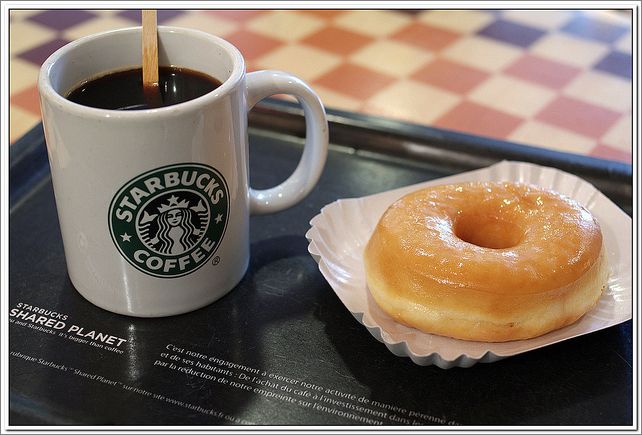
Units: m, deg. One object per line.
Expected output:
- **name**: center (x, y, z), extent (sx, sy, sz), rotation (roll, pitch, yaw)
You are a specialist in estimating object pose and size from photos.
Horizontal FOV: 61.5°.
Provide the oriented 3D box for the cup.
- **cup**: center (-0.191, -0.054, 0.710), extent (0.335, 0.267, 0.299), rotation (14, 48, 10)
